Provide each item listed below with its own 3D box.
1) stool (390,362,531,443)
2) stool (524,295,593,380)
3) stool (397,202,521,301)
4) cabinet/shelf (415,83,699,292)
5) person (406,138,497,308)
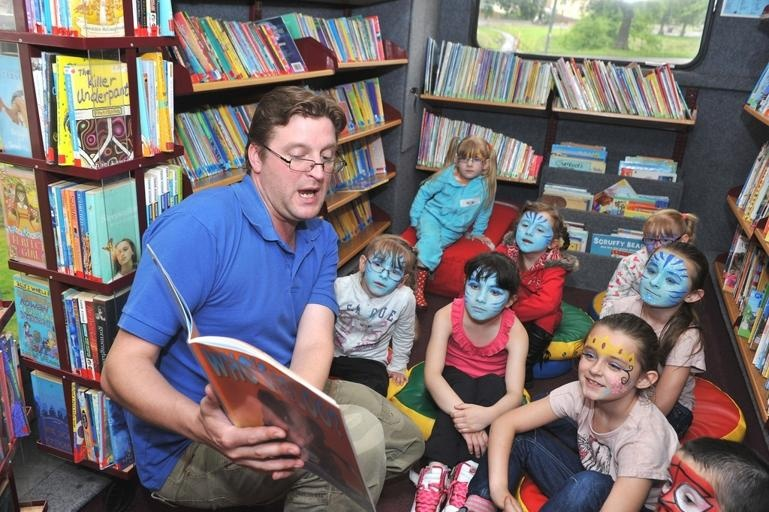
[{"bbox_3d":[0.264,0.739,2.886,0.439,0.137,0.398,-9,15,-25],"label":"stool"},{"bbox_3d":[1.075,0.502,3.335,0.433,0.150,0.450,-16,27,24],"label":"stool"},{"bbox_3d":[0.619,-0.042,4.194,0.634,0.287,1.250,9,29,14],"label":"stool"},{"bbox_3d":[1.395,-0.561,4.280,1.635,1.558,0.575,7,2,6],"label":"cabinet/shelf"},{"bbox_3d":[0.552,-0.395,4.311,0.682,0.870,1.344,14,52,8],"label":"person"}]
